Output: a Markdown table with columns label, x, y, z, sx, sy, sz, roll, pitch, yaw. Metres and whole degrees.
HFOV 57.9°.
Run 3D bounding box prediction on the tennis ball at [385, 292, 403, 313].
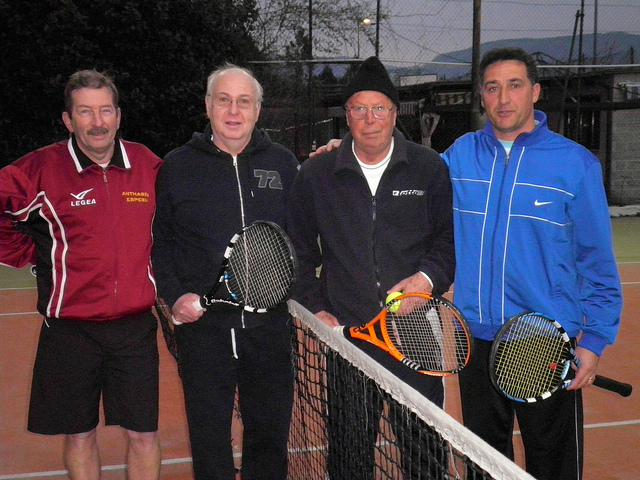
| label | x | y | z | sx | sy | sz | roll | pitch | yaw |
| --- | --- | --- | --- | --- | --- | --- | --- | --- | --- |
| tennis ball | 0.366 | 0.313 | 2.936 | 0.088 | 0.089 | 0.103 | -6 | 17 | 6 |

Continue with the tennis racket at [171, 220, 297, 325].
| label | x | y | z | sx | sy | sz | roll | pitch | yaw |
| --- | --- | --- | --- | --- | --- | --- | --- | --- | --- |
| tennis racket | -0.388 | 0.158 | 3.048 | 0.532 | 0.515 | 0.403 | -2 | 11 | -4 |

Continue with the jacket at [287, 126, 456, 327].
| label | x | y | z | sx | sy | sz | roll | pitch | yaw |
| --- | --- | --- | --- | --- | --- | --- | --- | --- | --- |
| jacket | 0.324 | -0.021 | 3.318 | 1.081 | 1.059 | 0.590 | -1 | 18 | 6 |

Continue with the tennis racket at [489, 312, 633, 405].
| label | x | y | z | sx | sy | sz | roll | pitch | yaw |
| --- | --- | --- | --- | --- | --- | --- | --- | --- | --- |
| tennis racket | 1.042 | 0.570 | 2.801 | 0.448 | 0.478 | 0.270 | 0 | 11 | 9 |

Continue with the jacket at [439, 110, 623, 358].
| label | x | y | z | sx | sy | sz | roll | pitch | yaw |
| --- | --- | --- | --- | --- | --- | --- | --- | --- | --- |
| jacket | 1.100 | -0.078 | 3.166 | 0.485 | 1.166 | 1.311 | -17 | 20 | -34 |
